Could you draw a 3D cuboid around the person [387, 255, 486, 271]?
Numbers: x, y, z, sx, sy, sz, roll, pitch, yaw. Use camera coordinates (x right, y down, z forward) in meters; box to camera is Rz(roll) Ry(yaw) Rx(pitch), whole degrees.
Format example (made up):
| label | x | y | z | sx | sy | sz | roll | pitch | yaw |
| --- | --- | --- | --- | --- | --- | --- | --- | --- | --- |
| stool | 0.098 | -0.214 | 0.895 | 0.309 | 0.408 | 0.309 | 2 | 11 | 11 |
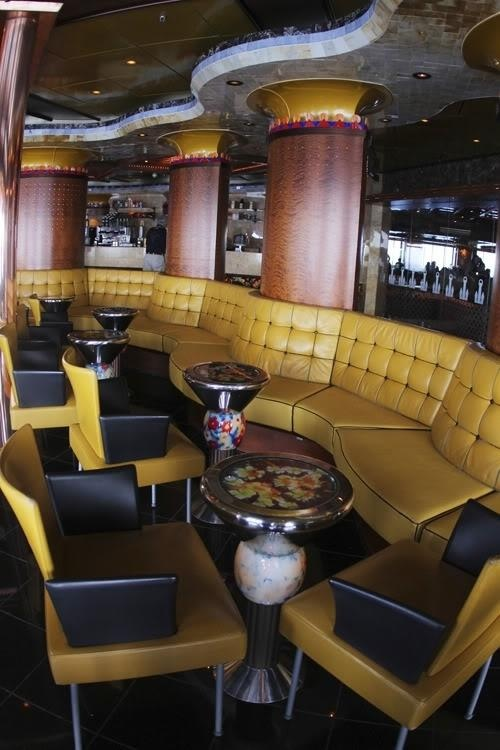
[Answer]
| label | x | y | z | sx | sy | sz | roll | pitch | yaw |
| --- | --- | --- | --- | --- | --- | --- | --- | --- | --- |
| person | 2.845 | -1.699 | 8.502 | 0.377 | 0.258 | 1.574 | -16 | 19 | -34 |
